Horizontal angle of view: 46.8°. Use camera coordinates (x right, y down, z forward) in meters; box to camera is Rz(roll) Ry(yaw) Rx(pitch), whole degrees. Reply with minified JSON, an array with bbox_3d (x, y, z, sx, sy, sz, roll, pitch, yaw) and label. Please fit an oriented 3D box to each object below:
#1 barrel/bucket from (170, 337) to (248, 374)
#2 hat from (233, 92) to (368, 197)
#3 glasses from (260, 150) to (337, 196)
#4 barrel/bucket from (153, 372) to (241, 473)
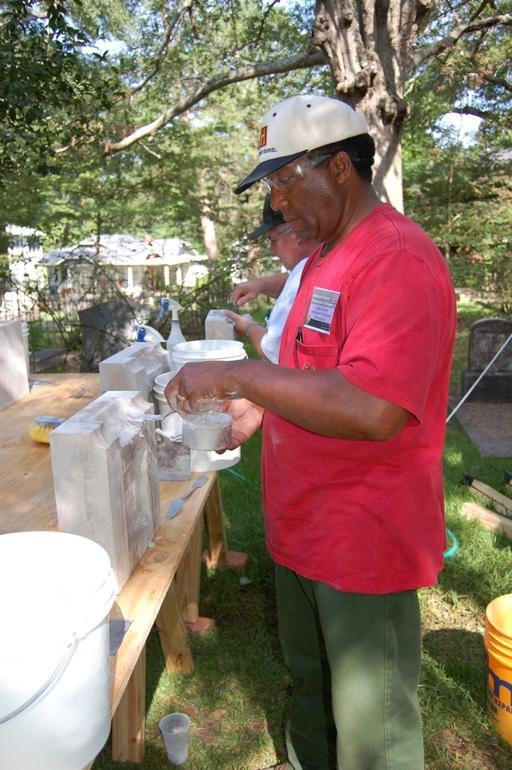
[{"bbox_3d":[-0.221,-0.155,2.737,0.249,0.168,0.258,-2,6,0],"label":"barrel/bucket"},{"bbox_3d":[0.094,-0.578,1.385,0.275,0.141,0.187,-28,14,-5],"label":"hat"},{"bbox_3d":[0.104,-0.491,1.346,0.097,0.029,0.091,-45,17,-11],"label":"glasses"},{"bbox_3d":[-0.235,0.147,2.283,0.367,0.350,0.385,-1,20,0],"label":"barrel/bucket"}]
